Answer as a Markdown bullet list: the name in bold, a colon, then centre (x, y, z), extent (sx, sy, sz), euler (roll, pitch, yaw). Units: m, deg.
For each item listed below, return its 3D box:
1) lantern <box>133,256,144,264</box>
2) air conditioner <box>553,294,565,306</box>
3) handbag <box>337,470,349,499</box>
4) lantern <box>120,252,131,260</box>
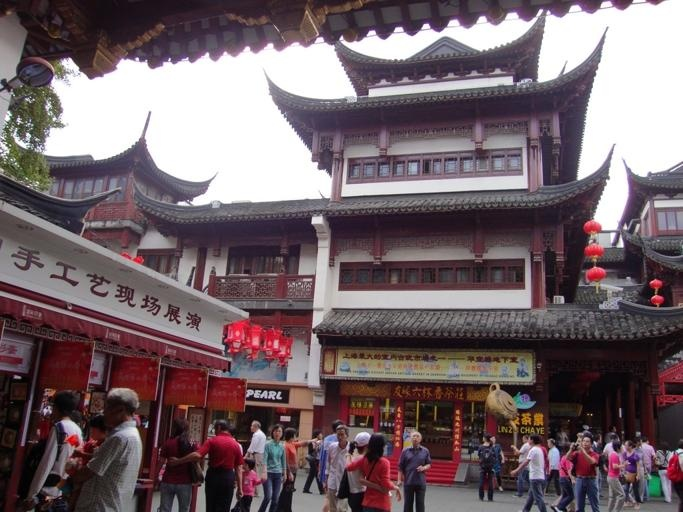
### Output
- **lantern**: centre (-5.908, 0.107, 16.488), extent (0.402, 0.143, 0.353), euler (1, -1, -23)
- **air conditioner**: centre (8.012, 1.625, 20.879), extent (0.462, 0.323, 0.457), euler (4, -7, 4)
- **handbag**: centre (0.039, 3.630, 9.065), extent (0.185, 0.432, 0.360), euler (2, -20, 8)
- **lantern**: centre (-5.728, -0.028, 15.036), extent (0.269, 0.090, 0.269), euler (14, -4, -24)
